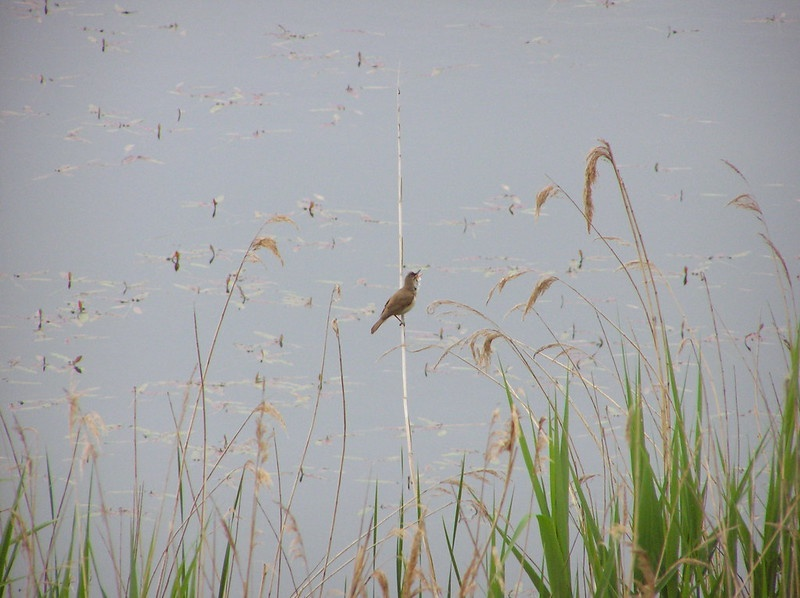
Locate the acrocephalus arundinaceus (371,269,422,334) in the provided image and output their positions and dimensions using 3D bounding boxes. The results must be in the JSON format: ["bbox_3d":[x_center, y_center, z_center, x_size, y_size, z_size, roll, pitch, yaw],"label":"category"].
[{"bbox_3d":[-0.025,0.018,5.846,0.326,0.245,0.119,-20,12,-21],"label":"acrocephalus arundinaceus"}]
